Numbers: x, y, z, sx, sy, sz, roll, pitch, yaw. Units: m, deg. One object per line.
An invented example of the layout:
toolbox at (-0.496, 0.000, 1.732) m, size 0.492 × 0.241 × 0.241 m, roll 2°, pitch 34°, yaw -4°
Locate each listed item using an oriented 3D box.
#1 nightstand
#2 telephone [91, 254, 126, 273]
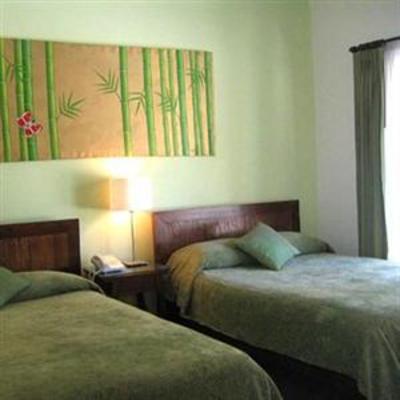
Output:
nightstand at (-0.604, 0.620, 3.227) m, size 0.538 × 0.554 × 0.488 m, roll -3°, pitch 3°, yaw -34°
telephone at (-0.734, 0.476, 3.095) m, size 0.149 × 0.083 × 0.204 m, roll 0°, pitch 3°, yaw -36°
